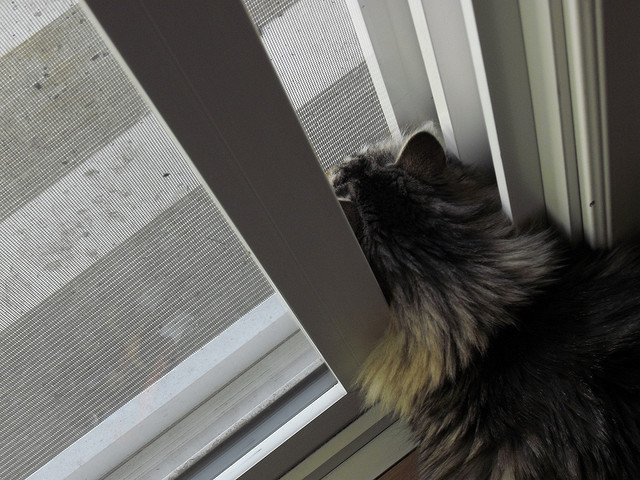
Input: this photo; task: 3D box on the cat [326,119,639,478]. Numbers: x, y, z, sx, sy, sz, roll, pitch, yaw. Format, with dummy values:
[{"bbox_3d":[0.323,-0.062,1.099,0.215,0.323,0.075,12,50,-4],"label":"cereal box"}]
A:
[{"bbox_3d":[0.260,0.063,0.927,0.441,0.433,0.461,-8,34,35],"label":"cat"}]
